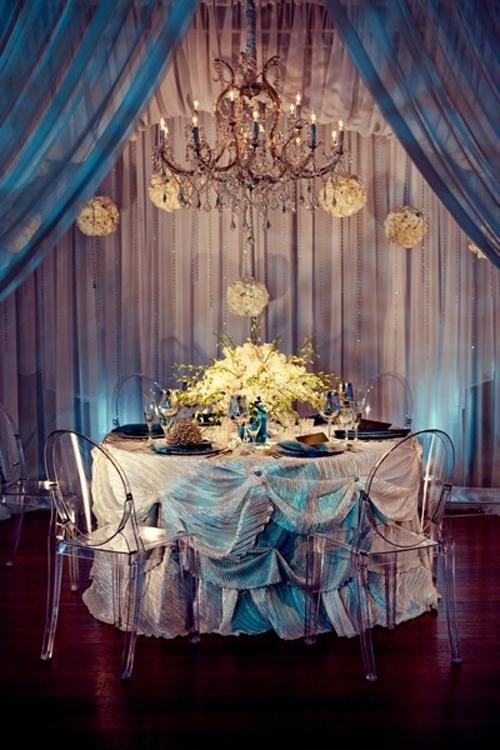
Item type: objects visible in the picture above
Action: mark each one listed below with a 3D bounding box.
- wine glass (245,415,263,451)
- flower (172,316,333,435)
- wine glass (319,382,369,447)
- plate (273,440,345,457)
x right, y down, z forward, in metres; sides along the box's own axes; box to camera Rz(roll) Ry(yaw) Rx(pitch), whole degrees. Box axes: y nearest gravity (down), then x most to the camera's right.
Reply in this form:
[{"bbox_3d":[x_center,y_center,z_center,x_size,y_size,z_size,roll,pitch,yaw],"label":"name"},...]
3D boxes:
[{"bbox_3d":[0.005,0.259,3.005,0.083,0.165,0.104,1,-7,-11],"label":"wine glass"},{"bbox_3d":[0.007,0.027,3.226,0.700,0.567,0.753,-1,6,-6],"label":"flower"},{"bbox_3d":[0.403,0.192,3.099,0.201,0.370,0.219,0,-4,0],"label":"wine glass"},{"bbox_3d":[0.241,0.300,2.824,0.286,0.052,0.181,0,2,1],"label":"plate"}]
